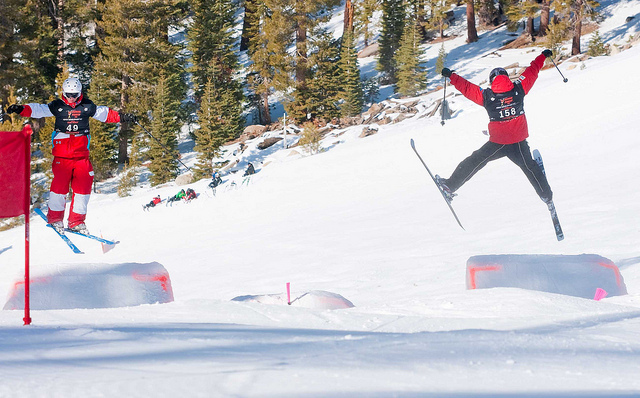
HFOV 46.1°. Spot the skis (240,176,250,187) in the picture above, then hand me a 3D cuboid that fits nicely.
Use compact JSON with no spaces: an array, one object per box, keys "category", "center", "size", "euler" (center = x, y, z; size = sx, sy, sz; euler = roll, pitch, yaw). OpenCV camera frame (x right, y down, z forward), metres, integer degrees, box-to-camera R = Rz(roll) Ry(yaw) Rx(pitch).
[{"category":"skis","center":[-3.497,-0.860,35.614],"size":[0.718,0.237,0.022],"euler":[-76,13,-59]}]

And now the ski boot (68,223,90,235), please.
[{"category":"ski boot","center":[-7.709,0.985,24.753],"size":[0.431,0.176,0.461],"euler":[12,-4,-44]}]
